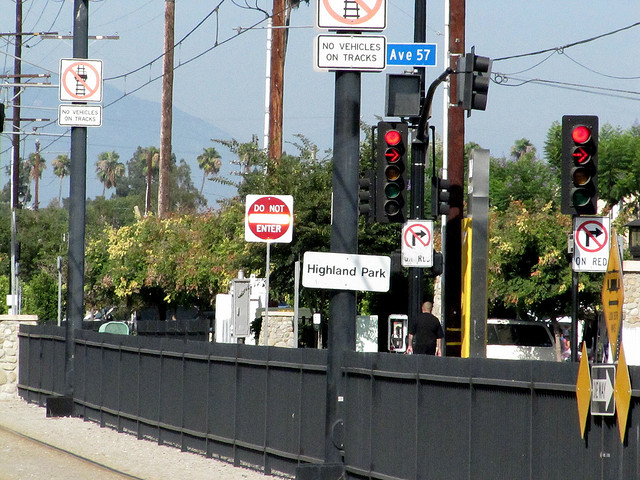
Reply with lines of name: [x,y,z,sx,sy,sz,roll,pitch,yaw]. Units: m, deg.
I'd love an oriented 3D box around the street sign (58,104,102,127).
street sign: [-5.913,-3.049,36.603,1.056,0.564,0.727,1,-2,-8]

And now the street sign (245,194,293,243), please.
street sign: [-1.112,-0.454,32.754,1.016,1.030,0.356,0,-2,-5]

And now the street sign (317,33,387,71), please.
street sign: [0.632,-3.655,29.012,1.336,0.752,0.159,0,-2,-2]

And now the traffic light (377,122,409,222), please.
traffic light: [1.581,-1.447,32.122,0.649,2.163,0.372,0,-2,1]

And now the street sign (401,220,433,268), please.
street sign: [2.254,0.136,34.087,0.738,1.310,0.147,0,-33,5]

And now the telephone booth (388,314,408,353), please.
telephone booth: [2.224,2.653,42.150,0.569,1.160,0.622,5,9,20]
